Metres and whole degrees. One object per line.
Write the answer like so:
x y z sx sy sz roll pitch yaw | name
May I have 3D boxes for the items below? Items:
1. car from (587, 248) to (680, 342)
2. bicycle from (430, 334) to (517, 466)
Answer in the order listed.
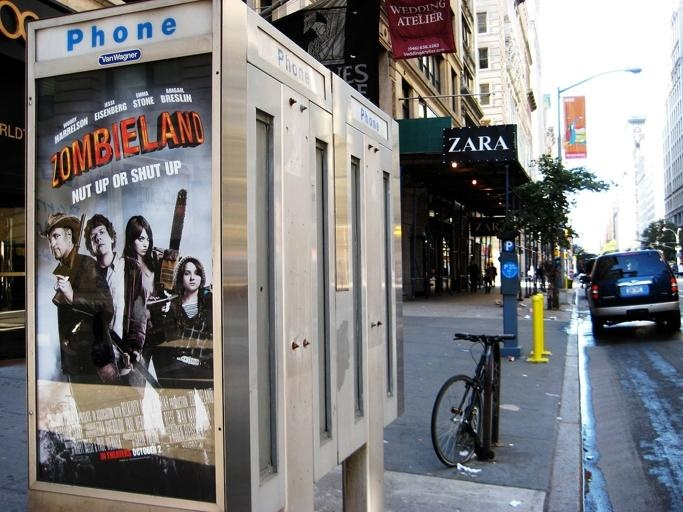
7.009 0.891 16.437 1.960 2.142 1.258 1 -1 18 | car
1.262 1.379 6.555 0.412 1.245 1.182 0 -1 40 | bicycle
